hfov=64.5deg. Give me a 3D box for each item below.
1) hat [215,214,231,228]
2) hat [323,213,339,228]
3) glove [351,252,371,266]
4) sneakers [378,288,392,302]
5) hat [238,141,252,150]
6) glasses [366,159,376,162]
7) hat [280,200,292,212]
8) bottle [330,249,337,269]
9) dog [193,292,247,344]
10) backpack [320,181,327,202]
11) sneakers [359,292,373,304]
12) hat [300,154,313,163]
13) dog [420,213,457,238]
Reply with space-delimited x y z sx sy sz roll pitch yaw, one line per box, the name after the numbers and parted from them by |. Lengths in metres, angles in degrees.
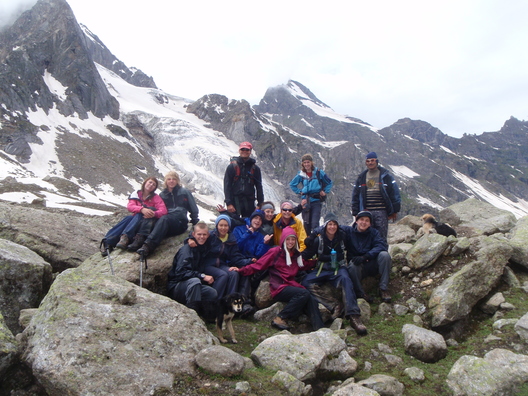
-1.192 0.619 12.283 0.330 0.407 0.351 2 43 1 | hat
1.916 0.642 11.971 0.336 0.347 0.378 2 -18 -4 | hat
2.734 1.736 11.782 0.537 0.287 0.287 3 -2 -22 | glove
3.334 2.675 11.447 0.185 0.191 0.456 -4 -9 1 | sneakers
-0.611 -1.748 13.778 0.335 0.242 0.459 7 2 8 | hat
3.356 -1.195 13.097 0.317 0.091 0.179 1 -2 29 | glasses
0.713 0.222 12.578 0.268 0.316 0.330 14 -4 -7 | hat
1.980 1.701 11.830 0.172 0.543 0.279 2 -1 9 | bottle
-1.201 3.011 10.520 1.820 1.117 0.536 -13 -17 43 | dog
2.063 -0.290 14.474 0.235 0.766 0.295 2 -1 11 | backpack
2.796 2.782 11.519 0.365 0.152 0.125 33 52 23 | sneakers
1.493 -1.394 14.480 0.288 0.327 0.357 -1 -20 9 | hat
6.060 0.950 14.450 0.526 0.782 1.645 -3 10 -17 | dog
